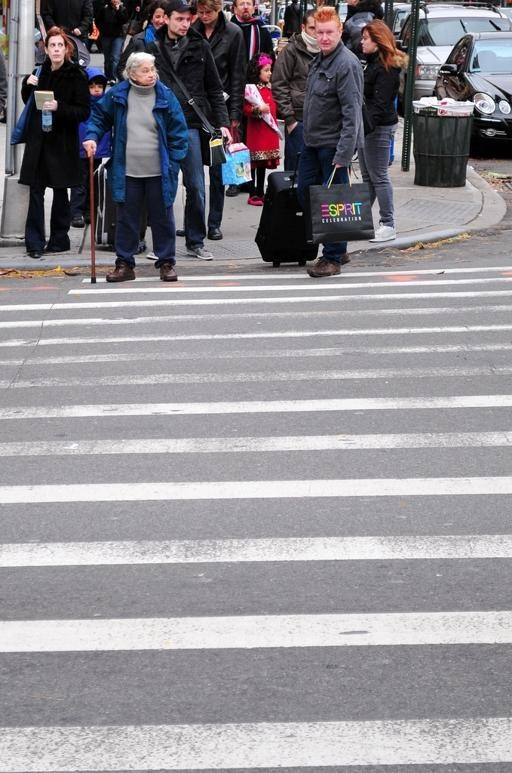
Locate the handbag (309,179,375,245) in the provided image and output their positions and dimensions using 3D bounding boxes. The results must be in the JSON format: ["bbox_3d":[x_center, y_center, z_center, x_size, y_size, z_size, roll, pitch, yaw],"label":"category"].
[{"bbox_3d":[0.647,-1.361,9.320,0.459,0.471,0.178,-7,10,-19],"label":"handbag"}]

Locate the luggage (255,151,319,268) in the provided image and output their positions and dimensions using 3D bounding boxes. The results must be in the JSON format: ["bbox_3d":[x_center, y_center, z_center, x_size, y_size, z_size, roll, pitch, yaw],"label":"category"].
[{"bbox_3d":[0.245,-1.394,9.909,0.500,0.770,0.524,0,14,-1],"label":"luggage"}]

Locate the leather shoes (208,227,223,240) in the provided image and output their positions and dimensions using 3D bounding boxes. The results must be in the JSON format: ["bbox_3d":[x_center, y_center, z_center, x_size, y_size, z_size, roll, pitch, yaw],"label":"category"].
[{"bbox_3d":[-0.394,-1.433,11.249,0.076,0.103,0.152,-1,0,-13],"label":"leather shoes"}]

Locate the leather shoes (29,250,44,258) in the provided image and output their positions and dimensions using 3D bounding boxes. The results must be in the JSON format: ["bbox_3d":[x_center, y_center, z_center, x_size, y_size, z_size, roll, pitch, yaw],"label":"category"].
[{"bbox_3d":[-1.917,-1.146,10.355,0.119,0.060,0.052,-4,-5,-7],"label":"leather shoes"}]
